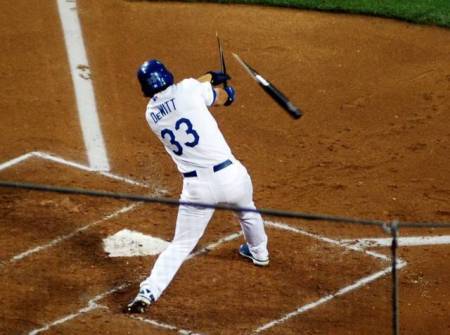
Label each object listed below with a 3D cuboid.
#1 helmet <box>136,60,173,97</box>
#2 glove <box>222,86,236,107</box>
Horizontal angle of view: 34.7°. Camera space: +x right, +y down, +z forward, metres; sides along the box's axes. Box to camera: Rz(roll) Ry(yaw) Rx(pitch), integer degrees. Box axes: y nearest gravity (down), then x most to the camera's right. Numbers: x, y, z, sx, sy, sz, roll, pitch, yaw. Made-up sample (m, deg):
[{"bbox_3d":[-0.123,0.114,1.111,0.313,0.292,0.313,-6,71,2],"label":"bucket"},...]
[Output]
[{"bbox_3d":[-0.951,-1.312,10.239,0.455,0.432,0.610,-20,-1,23],"label":"helmet"},{"bbox_3d":[0.016,-1.057,10.592,0.238,0.283,0.274,6,14,32],"label":"glove"}]
